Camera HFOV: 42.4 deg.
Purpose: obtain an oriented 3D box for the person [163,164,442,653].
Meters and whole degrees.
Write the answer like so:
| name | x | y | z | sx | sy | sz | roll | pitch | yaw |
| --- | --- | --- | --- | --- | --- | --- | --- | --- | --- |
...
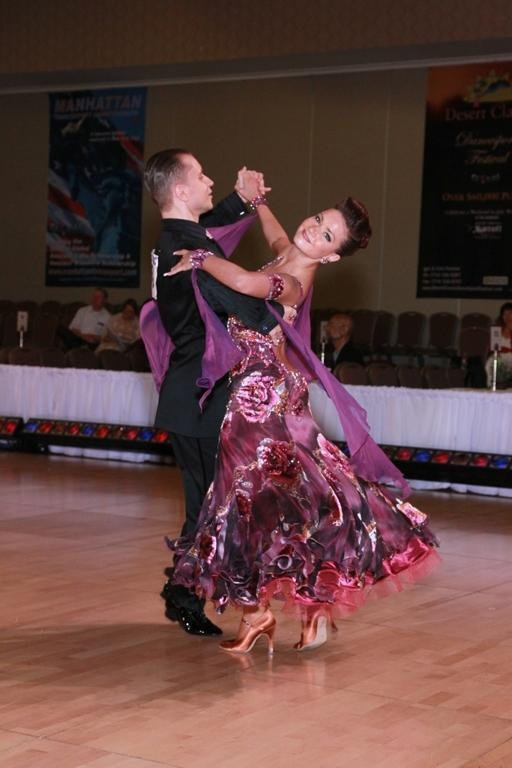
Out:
| name | x | y | z | sx | sy | sz | roll | pitch | yaw |
| --- | --- | --- | --- | --- | --- | --- | --- | --- | --- |
| person | 0.160 | 0.056 | 1.813 | 0.751 | 1.231 | 0.545 | 0 | 5 | -32 |

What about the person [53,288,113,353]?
| name | x | y | z | sx | sy | sz | roll | pitch | yaw |
| --- | --- | --- | --- | --- | --- | --- | --- | --- | --- |
| person | -2.339 | -0.797 | 9.270 | 0.858 | 1.001 | 0.626 | 8 | 21 | -25 |

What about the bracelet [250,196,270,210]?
| name | x | y | z | sx | sy | sz | roll | pitch | yaw |
| --- | --- | --- | --- | --- | --- | --- | --- | --- | --- |
| bracelet | 0.013 | -0.571 | 2.043 | 0.054 | 0.062 | 0.038 | 6 | -15 | 8 |

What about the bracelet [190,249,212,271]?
| name | x | y | z | sx | sy | sz | roll | pitch | yaw |
| --- | --- | --- | --- | --- | --- | --- | --- | --- | --- |
| bracelet | -0.128 | -0.295 | 1.546 | 0.062 | 0.049 | 0.023 | -4 | -10 | 34 |
